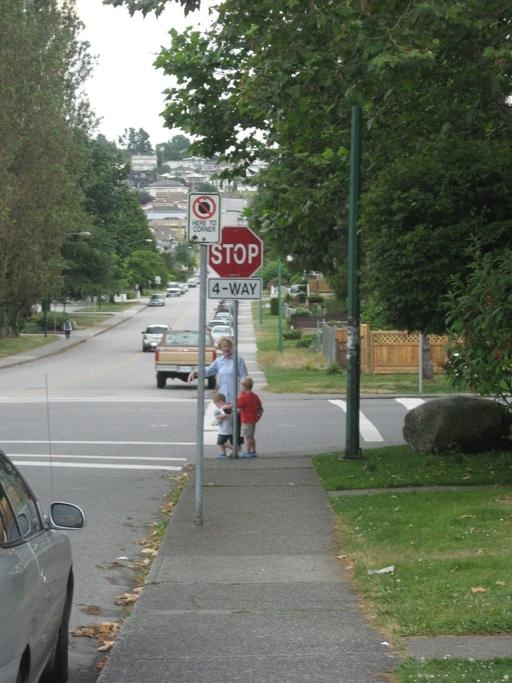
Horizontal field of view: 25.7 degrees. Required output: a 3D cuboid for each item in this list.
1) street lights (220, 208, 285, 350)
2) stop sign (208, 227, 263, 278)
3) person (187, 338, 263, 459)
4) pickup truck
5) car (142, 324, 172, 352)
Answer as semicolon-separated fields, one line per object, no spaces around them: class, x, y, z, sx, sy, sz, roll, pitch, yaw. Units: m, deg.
street lights;-0.253;-1.013;13.019;0.673;0.667;0.070;2;6;12
stop sign;-0.257;-1.031;13.001;0.618;0.608;0.489;-2;3;-1
person;-0.271;0.801;14.576;0.899;1.654;1.136;-1;3;-12
pickup truck;-1.970;0.650;31.459;1.759;1.533;3.458;0;-5;-5
car;-4.834;-0.164;52.947;1.356;1.169;2.764;0;7;-3
